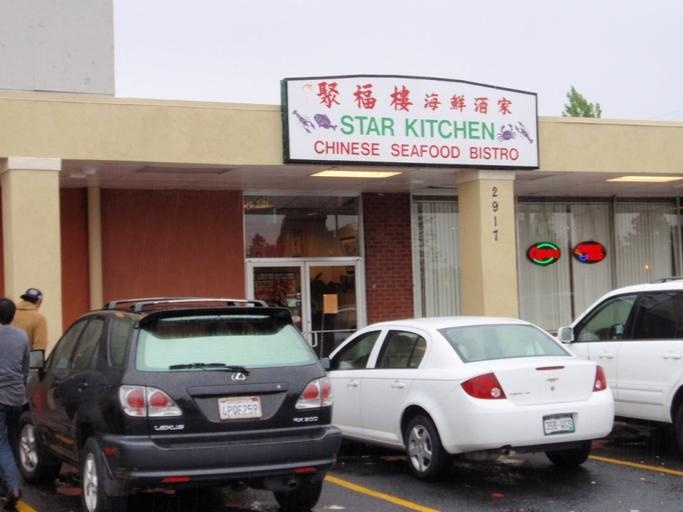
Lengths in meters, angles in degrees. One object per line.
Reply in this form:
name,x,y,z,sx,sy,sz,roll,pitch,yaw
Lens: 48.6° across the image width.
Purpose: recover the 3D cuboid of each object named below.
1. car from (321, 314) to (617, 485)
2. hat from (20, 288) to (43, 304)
car,1.363,1.638,8.953,3.047,1.146,1.512,-2,-1,41
hat,-4.167,0.541,10.110,0.306,0.167,0.211,18,2,-3
